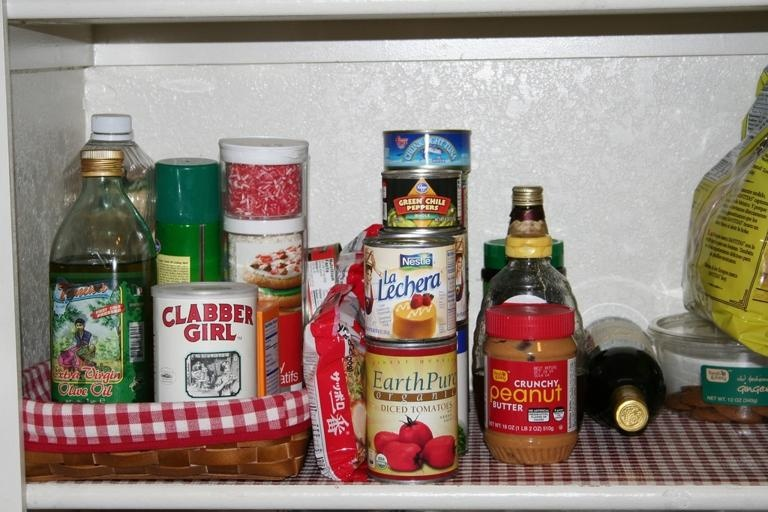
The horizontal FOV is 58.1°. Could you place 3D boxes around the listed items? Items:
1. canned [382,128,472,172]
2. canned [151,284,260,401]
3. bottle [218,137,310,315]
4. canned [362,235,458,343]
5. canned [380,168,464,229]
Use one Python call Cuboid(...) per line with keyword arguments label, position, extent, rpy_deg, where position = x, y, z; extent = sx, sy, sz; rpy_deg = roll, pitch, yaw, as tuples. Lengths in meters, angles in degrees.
Cuboid(label="canned", position=(0.072, -0.149, 0.968), extent=(0.095, 0.057, 0.142), rpy_deg=(6, 14, 37))
Cuboid(label="canned", position=(-0.226, 0.113, 0.966), extent=(0.165, 0.149, 0.153), rpy_deg=(-2, 4, -29))
Cuboid(label="bottle", position=(-0.169, -0.043, 0.995), extent=(0.128, 0.240, 0.075), rpy_deg=(-5, 12, -11))
Cuboid(label="canned", position=(0.034, 0.028, 0.946), extent=(0.143, 0.133, 0.136), rpy_deg=(1, 4, 24))
Cuboid(label="canned", position=(0.051, -0.079, 0.961), extent=(0.097, 0.060, 0.088), rpy_deg=(-1, 3, -15))
